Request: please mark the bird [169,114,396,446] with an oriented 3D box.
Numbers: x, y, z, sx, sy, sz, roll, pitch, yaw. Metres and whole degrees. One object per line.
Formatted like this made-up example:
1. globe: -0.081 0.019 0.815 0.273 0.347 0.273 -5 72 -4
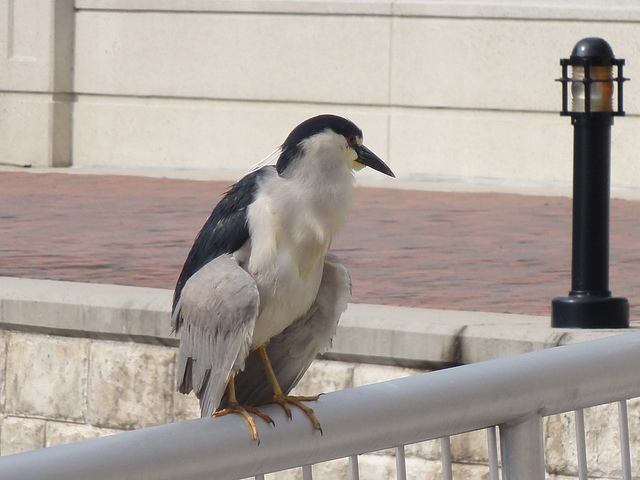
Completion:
1. bird: -0.327 0.150 13.124 1.251 1.950 0.541 1 -6 -5
